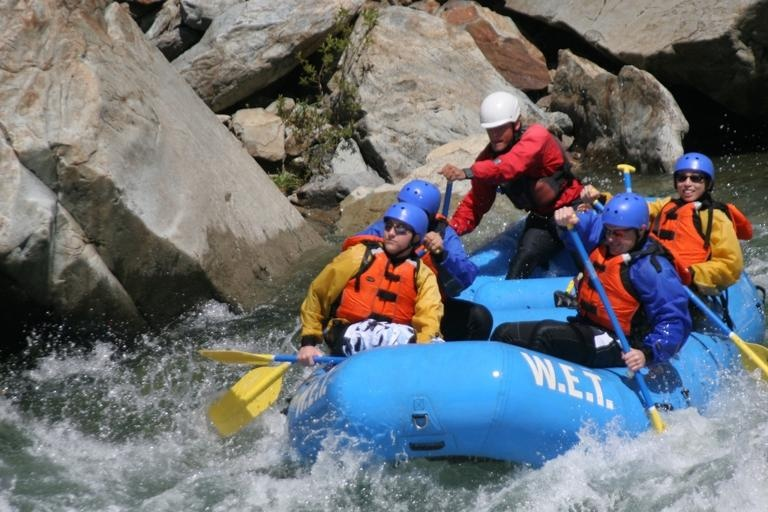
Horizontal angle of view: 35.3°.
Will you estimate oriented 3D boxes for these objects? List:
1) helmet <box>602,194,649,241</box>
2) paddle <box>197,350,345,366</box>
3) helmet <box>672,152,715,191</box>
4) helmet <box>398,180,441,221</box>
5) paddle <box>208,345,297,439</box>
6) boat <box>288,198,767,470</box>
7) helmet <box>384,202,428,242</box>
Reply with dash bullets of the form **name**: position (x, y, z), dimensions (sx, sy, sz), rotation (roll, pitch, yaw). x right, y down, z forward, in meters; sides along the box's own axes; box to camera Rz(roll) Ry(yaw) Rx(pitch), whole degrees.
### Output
- **helmet**: position (2.280, -0.379, 11.224), dimensions (0.375, 0.377, 0.299), rotation (7, 2, -17)
- **paddle**: position (-1.100, 0.970, 11.434), dimensions (1.079, 0.128, 0.173), rotation (3, 70, -3)
- **helmet**: position (3.118, -0.857, 12.078), dimensions (0.314, 0.420, 0.324), rotation (-2, 33, 25)
- **helmet**: position (0.419, -0.573, 12.014), dimensions (0.403, 0.391, 0.302), rotation (17, 6, -37)
- **paddle**: position (-1.271, 1.285, 11.208), dimensions (1.082, 0.220, 0.482), rotation (-41, 84, -25)
- **boat**: position (1.296, 1.053, 10.861), dimensions (3.337, 0.711, 2.108), rotation (-18, 40, -27)
- **helmet**: position (0.203, -0.309, 11.370), dimensions (0.354, 0.302, 0.279), rotation (14, -1, 15)
